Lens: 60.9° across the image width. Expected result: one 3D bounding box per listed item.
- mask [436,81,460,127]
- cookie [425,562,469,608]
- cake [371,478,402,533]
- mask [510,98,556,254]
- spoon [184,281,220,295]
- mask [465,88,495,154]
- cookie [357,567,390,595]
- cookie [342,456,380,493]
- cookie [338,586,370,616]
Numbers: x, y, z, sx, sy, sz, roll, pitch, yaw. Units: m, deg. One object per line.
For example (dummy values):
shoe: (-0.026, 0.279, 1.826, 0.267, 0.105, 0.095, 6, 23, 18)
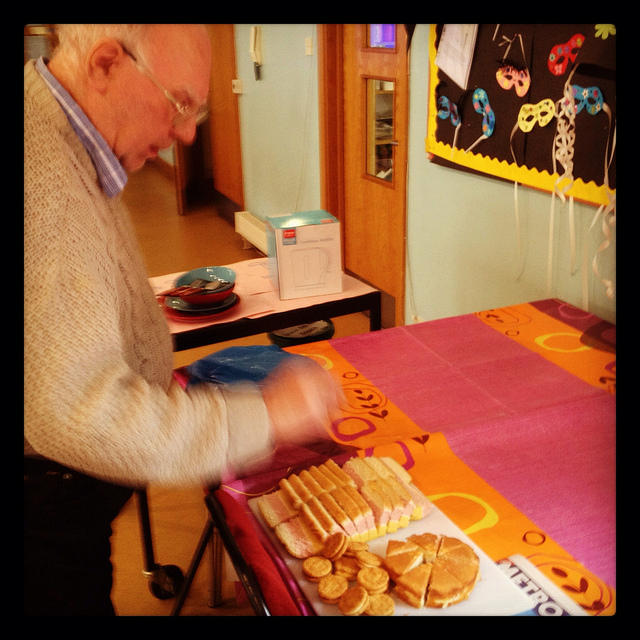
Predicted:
mask: (0.332, -0.561, 1.434, 0.030, 0.112, 0.104, -9, 33, -15)
cookie: (0.097, 0.203, 0.413, 0.024, 0.008, 0.027, 5, 24, 1)
cake: (0.059, 0.166, 0.514, 0.026, 0.038, 0.048, -7, 15, -16)
mask: (0.475, -0.298, 1.237, 0.090, 0.380, 0.064, 7, 16, 31)
spoon: (-0.265, -0.076, 1.219, 0.083, 0.008, 0.026, -25, 31, -37)
mask: (0.392, -0.496, 1.310, 0.025, 0.112, 0.083, -7, 23, -14)
cookie: (0.043, 0.208, 0.440, 0.026, 0.014, 0.032, 2, 24, 8)
cookie: (0.043, 0.163, 0.573, 0.021, 0.007, 0.021, -6, 28, -37)
cookie: (0.025, 0.215, 0.416, 0.019, 0.009, 0.027, 18, 30, 37)
